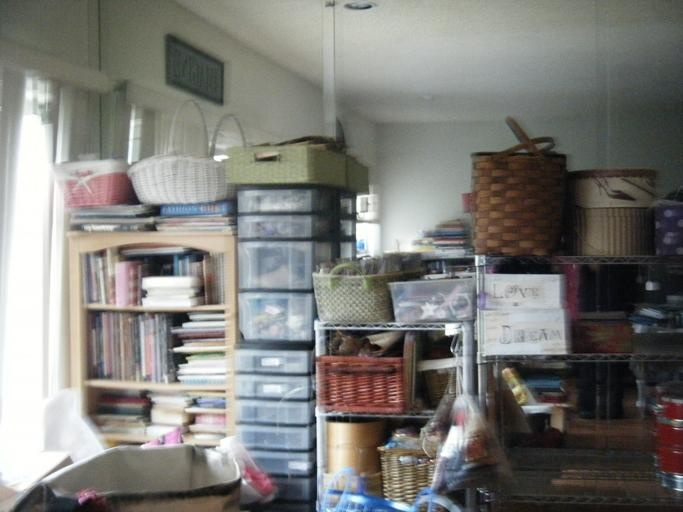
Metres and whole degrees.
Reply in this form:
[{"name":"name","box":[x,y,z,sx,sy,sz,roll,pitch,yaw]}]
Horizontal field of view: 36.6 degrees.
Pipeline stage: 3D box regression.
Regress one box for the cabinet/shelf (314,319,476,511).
[{"name":"cabinet/shelf","box":[0.260,0.678,4.746,1.106,0.817,0.731,1,6,9]}]

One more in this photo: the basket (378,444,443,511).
[{"name":"basket","box":[0.278,0.921,4.281,0.305,0.175,0.282,3,-9,-14]}]

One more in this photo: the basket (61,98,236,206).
[{"name":"basket","box":[-0.875,-0.442,4.730,0.814,0.340,0.431,-1,-1,13]}]

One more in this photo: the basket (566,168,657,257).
[{"name":"basket","box":[1.130,-0.181,4.279,0.431,0.347,0.410,0,-1,-39]}]

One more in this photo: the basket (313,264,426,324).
[{"name":"basket","box":[0.031,0.149,4.586,0.375,0.157,0.392,4,11,1]}]

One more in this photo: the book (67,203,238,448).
[{"name":"book","box":[-0.854,0.347,4.748,0.837,0.812,0.132,-4,3,17]}]
